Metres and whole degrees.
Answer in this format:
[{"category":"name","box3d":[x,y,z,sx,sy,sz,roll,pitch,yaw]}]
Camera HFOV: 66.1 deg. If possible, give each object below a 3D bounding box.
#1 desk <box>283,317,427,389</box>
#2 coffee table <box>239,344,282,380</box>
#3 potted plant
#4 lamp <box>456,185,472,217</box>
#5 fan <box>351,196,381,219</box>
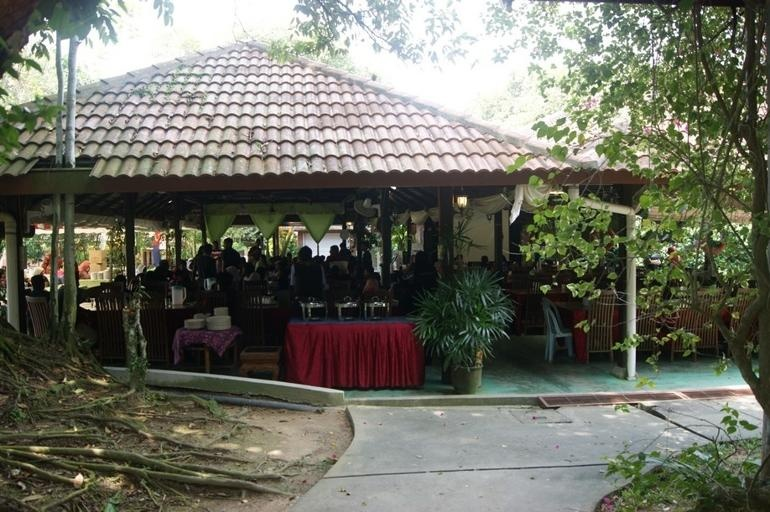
[{"category":"desk","box3d":[-0.406,1.391,9.425,2.239,1.033,1.211,-2,12,12]},{"category":"coffee table","box3d":[-1.863,1.555,8.861,0.550,0.326,0.520,0,2,-1]},{"category":"potted plant","box3d":[1.139,1.097,8.805,1.372,1.836,0.539,-2,-5,1]},{"category":"lamp","box3d":[1.573,-1.186,12.062,0.294,0.525,0.892,-3,-5,8]},{"category":"fan","box3d":[-0.395,-1.148,13.776,0.565,0.633,0.501,-15,42,-12]}]
